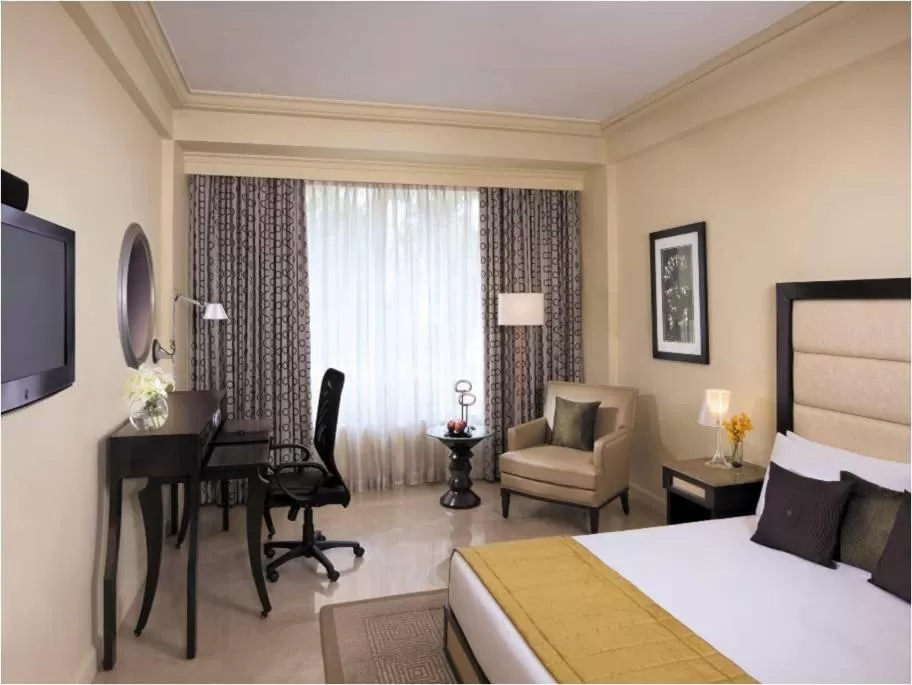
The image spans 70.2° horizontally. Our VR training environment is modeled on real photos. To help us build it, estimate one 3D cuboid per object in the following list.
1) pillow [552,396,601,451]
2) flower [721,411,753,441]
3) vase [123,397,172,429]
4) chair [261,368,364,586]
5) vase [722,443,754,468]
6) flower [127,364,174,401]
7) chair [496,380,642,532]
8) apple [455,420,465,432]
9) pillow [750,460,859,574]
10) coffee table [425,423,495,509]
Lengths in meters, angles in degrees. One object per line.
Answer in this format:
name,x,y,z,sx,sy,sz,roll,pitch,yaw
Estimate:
pillow,1.010,0.694,5.383,0.366,0.388,0.136,0,-19,39
flower,1.879,0.558,4.337,0.175,0.200,0.185,1,-4,-4
vase,-1.818,0.427,3.834,0.172,0.184,0.183,4,-6,-10
chair,-1.054,0.885,4.687,0.705,1.330,1.111,-3,10,-17
vase,1.956,0.757,4.486,0.157,0.295,0.173,-1,0,18
flower,-1.826,0.237,3.845,0.235,0.144,0.243,4,3,-22
chair,0.957,0.842,5.468,0.981,1.283,1.078,1,-1,35
apple,0.028,0.715,5.438,0.076,0.067,0.069,-4,7,-38
pillow,1.849,0.910,3.457,0.132,0.433,0.425,17,-2,-30
coffee table,0.031,1.064,5.660,0.588,0.656,0.628,1,-1,8
